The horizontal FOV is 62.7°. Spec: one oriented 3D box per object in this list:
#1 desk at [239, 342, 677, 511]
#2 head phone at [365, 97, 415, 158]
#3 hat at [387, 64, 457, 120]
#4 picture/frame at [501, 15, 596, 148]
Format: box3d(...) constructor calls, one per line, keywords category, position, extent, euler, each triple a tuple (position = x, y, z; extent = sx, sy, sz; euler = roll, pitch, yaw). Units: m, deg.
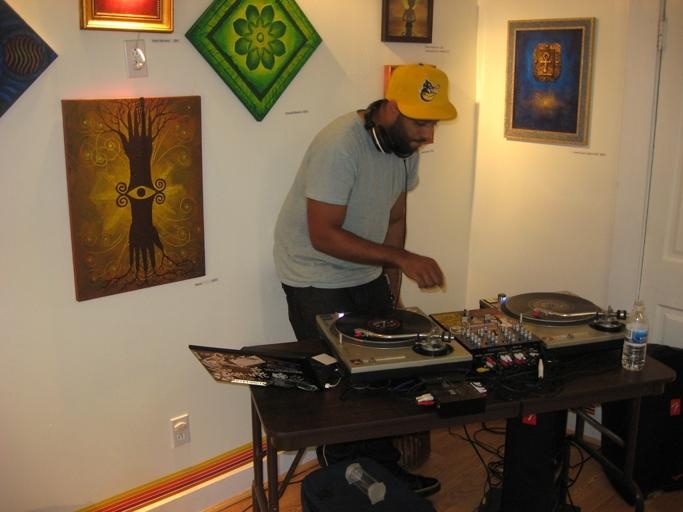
box3d(category="desk", position=(0.367, 0.576, 2.619), extent=(1.397, 0.783, 1.548), euler=(3, 13, -18))
box3d(category="head phone", position=(0.238, -0.576, 2.530), extent=(0.260, 0.307, 0.108), euler=(10, -18, -17))
box3d(category="hat", position=(0.316, -0.699, 2.419), extent=(0.227, 0.151, 0.282), euler=(-18, 42, -37))
box3d(category="picture/frame", position=(1.170, -0.989, 3.108), extent=(0.684, 0.930, 0.062), euler=(8, 15, 31))
